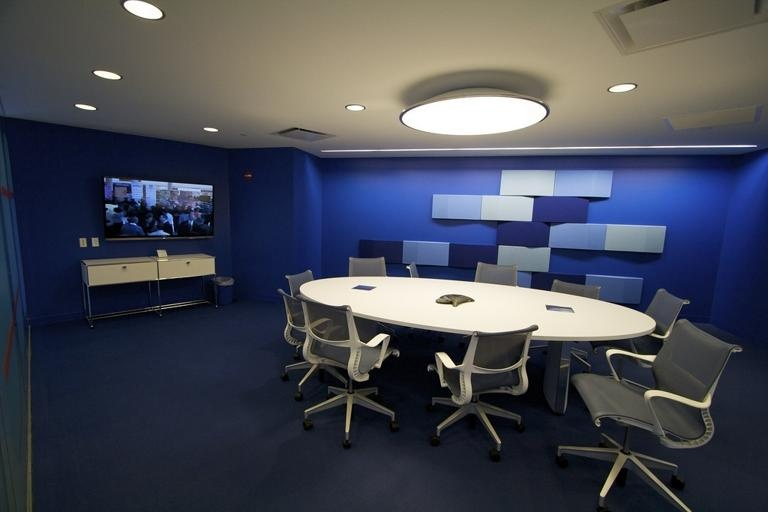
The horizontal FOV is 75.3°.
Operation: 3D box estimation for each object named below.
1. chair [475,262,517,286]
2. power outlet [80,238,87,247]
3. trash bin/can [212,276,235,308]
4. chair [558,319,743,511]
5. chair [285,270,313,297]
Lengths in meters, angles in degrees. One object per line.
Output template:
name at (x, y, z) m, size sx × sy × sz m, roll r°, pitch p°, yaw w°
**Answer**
chair at (1.566, 0.232, 6.935) m, size 0.373 × 0.527 × 0.385 m, roll 1°, pitch 2°, yaw 23°
power outlet at (-4.276, -0.191, 7.057) m, size 0.093 × 0.151 × 0.015 m, roll -4°, pitch 9°, yaw -27°
trash bin/can at (-2.576, 0.582, 8.115) m, size 0.425 × 0.491 × 0.429 m, roll 0°, pitch 8°, yaw 6°
chair at (2.545, 1.577, 4.795) m, size 1.405 × 1.909 × 1.450 m, roll 0°, pitch 8°, yaw 3°
chair at (-1.061, 0.336, 6.221) m, size 0.282 × 0.462 × 0.338 m, roll -6°, pitch 8°, yaw -41°
